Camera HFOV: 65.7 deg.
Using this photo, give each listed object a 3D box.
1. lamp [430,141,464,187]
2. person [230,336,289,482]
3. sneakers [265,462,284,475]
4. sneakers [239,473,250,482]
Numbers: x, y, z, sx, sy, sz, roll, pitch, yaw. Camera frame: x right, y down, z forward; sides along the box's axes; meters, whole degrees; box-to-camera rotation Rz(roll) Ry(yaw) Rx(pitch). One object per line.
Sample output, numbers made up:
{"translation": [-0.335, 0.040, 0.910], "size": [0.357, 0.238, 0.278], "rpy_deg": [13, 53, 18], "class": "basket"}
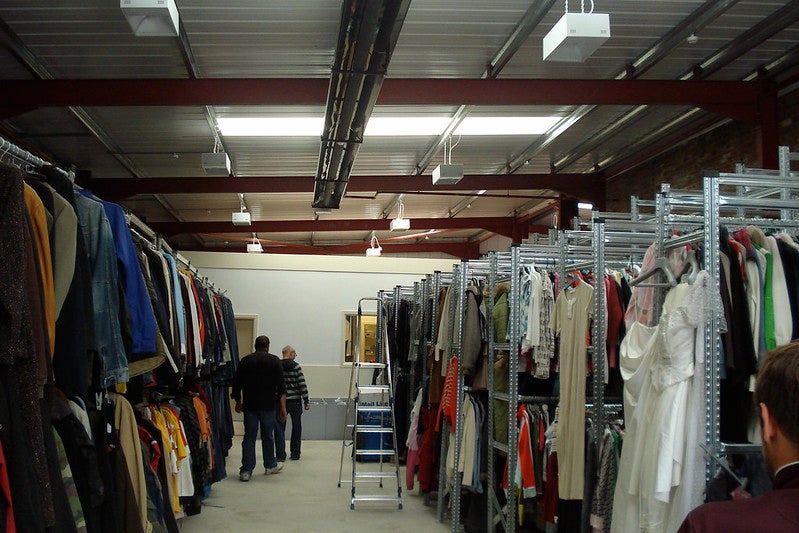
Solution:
{"translation": [0.848, -1.855, 10.949], "size": [0.444, 0.792, 0.850], "rpy_deg": [1, -4, -8], "class": "lamp"}
{"translation": [-2.225, 2.211, 9.837], "size": [0.785, 2.189, 0.710], "rpy_deg": [1, -6, -1], "class": "person"}
{"translation": [-2.036, 3.275, 10.061], "size": [0.110, 0.121, 0.290], "rpy_deg": [1, 5, 20], "class": "sneakers"}
{"translation": [-2.369, 3.209, 9.470], "size": [0.102, 0.076, 0.173], "rpy_deg": [12, -7, -5], "class": "sneakers"}
